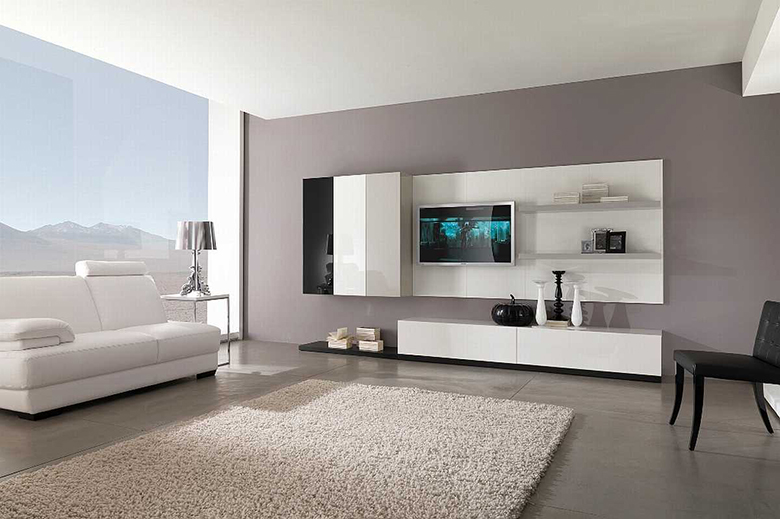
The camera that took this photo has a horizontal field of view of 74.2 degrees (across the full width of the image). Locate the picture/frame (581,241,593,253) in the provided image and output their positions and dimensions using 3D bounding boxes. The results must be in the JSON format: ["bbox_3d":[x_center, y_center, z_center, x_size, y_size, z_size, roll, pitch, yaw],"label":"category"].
[{"bbox_3d":[2.369,-0.160,6.183,0.133,0.138,0.135,4,11,18],"label":"picture/frame"}]

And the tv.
[{"bbox_3d":[0.984,-0.325,6.718,1.260,0.772,0.086,0,-1,5],"label":"tv"}]

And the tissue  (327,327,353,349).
[{"bbox_3d":[-0.703,1.084,7.121,0.285,0.176,0.290,0,3,8],"label":"tissue "}]

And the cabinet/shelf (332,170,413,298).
[{"bbox_3d":[-0.312,-0.348,6.936,1.118,1.637,0.405,7,13,29],"label":"cabinet/shelf"}]

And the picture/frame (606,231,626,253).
[{"bbox_3d":[2.647,-0.206,6.040,0.175,0.325,0.236,3,-4,-16],"label":"picture/frame"}]

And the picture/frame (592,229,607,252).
[{"bbox_3d":[2.481,-0.227,6.074,0.143,0.255,0.100,5,12,19],"label":"picture/frame"}]
